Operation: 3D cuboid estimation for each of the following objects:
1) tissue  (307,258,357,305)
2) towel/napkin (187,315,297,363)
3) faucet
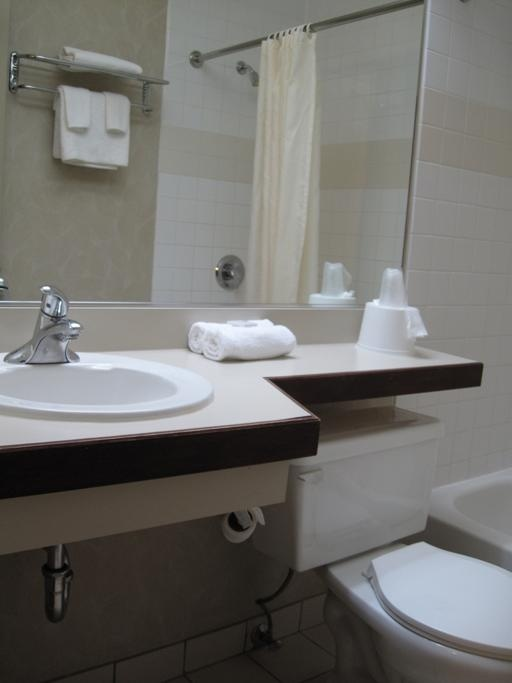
[{"bbox_3d":[0.224,-0.162,1.560,0.115,0.142,0.129,3,5,43],"label":"tissue "},{"bbox_3d":[-0.023,0.002,1.195,0.249,0.076,0.157,1,6,-14],"label":"towel/napkin"},{"bbox_3d":[-0.394,-0.043,0.961,0.146,0.126,0.104,24,20,38],"label":"faucet"}]
